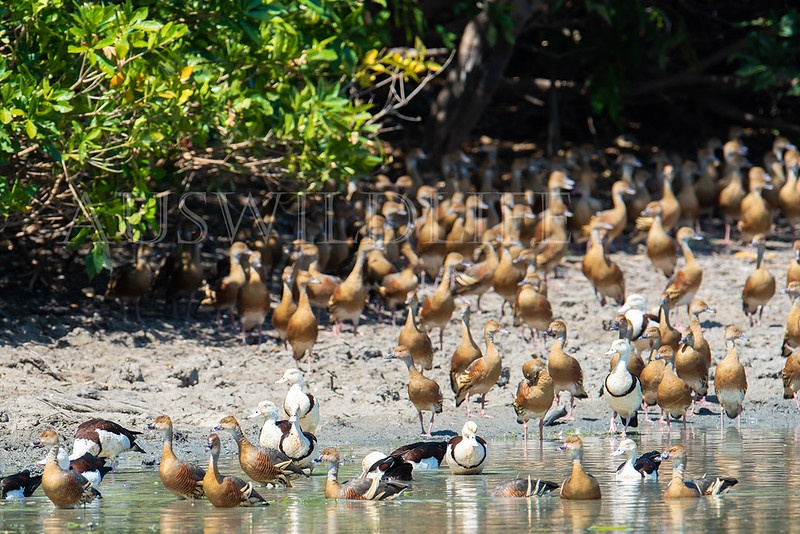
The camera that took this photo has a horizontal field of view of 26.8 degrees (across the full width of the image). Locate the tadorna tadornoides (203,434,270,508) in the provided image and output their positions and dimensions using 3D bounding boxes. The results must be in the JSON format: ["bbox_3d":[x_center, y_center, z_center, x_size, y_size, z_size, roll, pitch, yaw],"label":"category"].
[{"bbox_3d":[-2.564,3.111,25.395,0.885,1.098,0.370,1,-4,-8],"label":"tadorna tadornoides"}]
